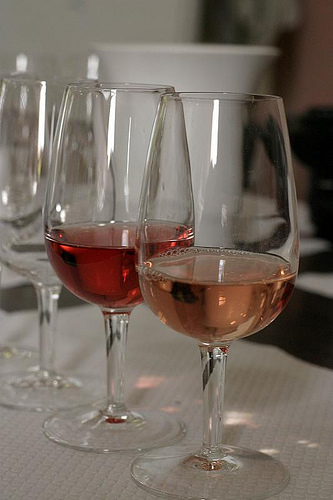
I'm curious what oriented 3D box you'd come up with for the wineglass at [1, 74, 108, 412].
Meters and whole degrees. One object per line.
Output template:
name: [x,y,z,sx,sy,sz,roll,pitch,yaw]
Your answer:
wineglass: [-0.083,-0.003,0.526,0.130,0.306,0.122,3,5,-1]
